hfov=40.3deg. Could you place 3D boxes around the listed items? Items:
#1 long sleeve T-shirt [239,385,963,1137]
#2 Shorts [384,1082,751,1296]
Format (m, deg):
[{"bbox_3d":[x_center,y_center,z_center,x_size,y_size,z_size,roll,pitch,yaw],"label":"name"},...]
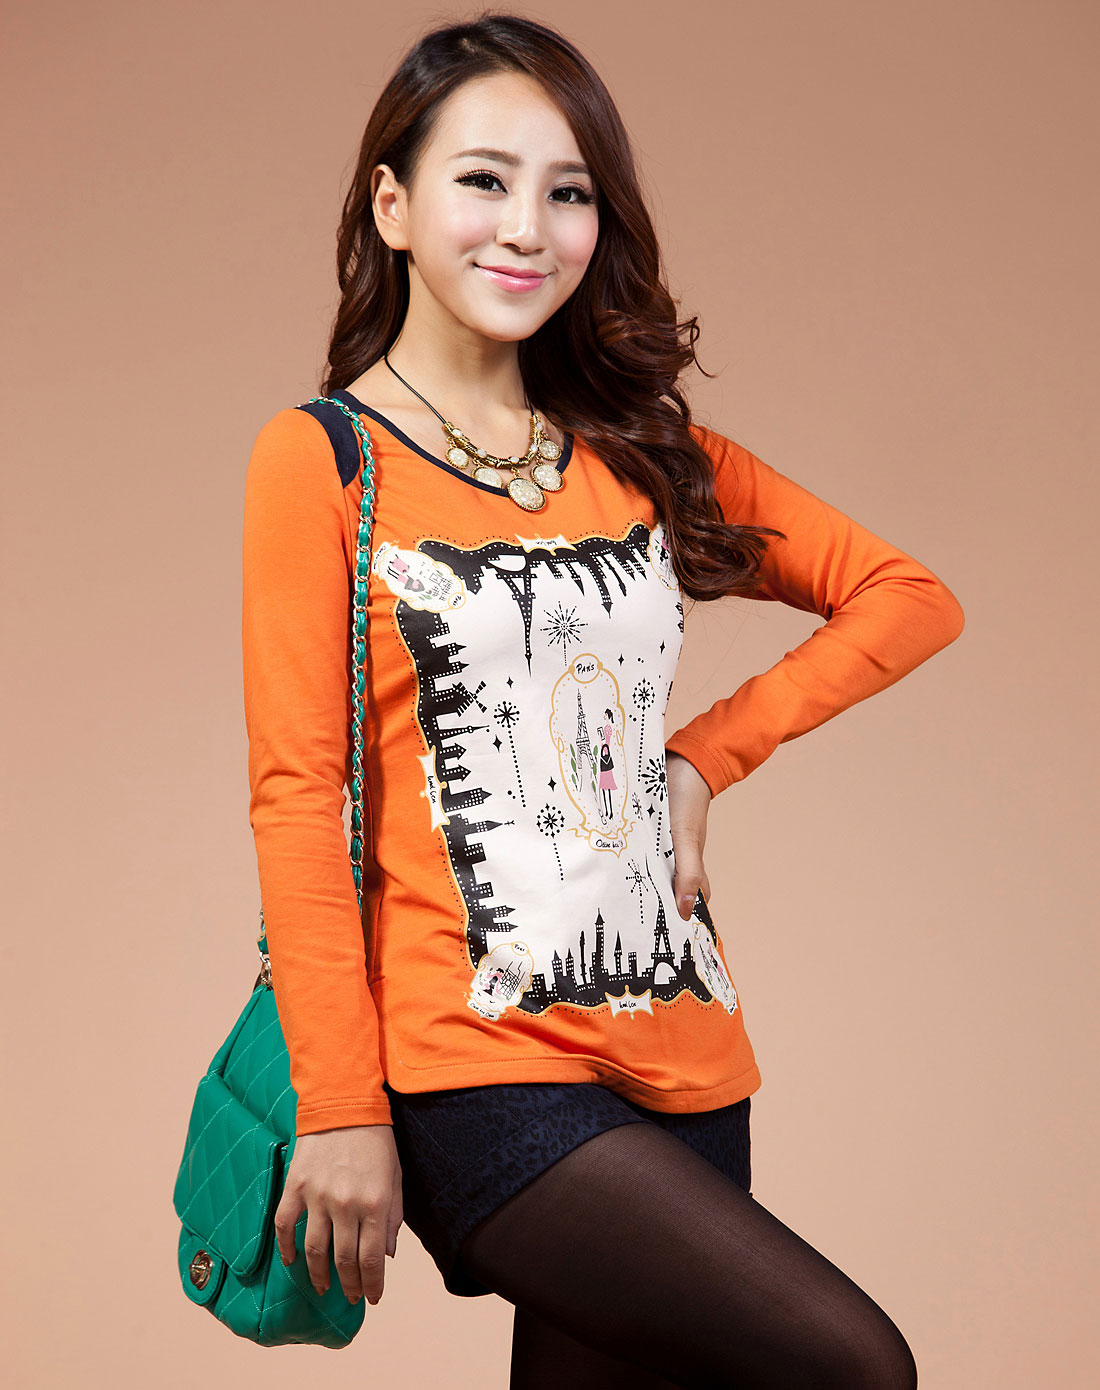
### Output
[{"bbox_3d":[0.018,0.020,1.286,0.684,0.721,0.249,19,-42,-28],"label":"long sleeve T-shirt"},{"bbox_3d":[0.002,0.356,1.148,0.263,0.108,0.238,-6,-13,11],"label":"Shorts"}]
